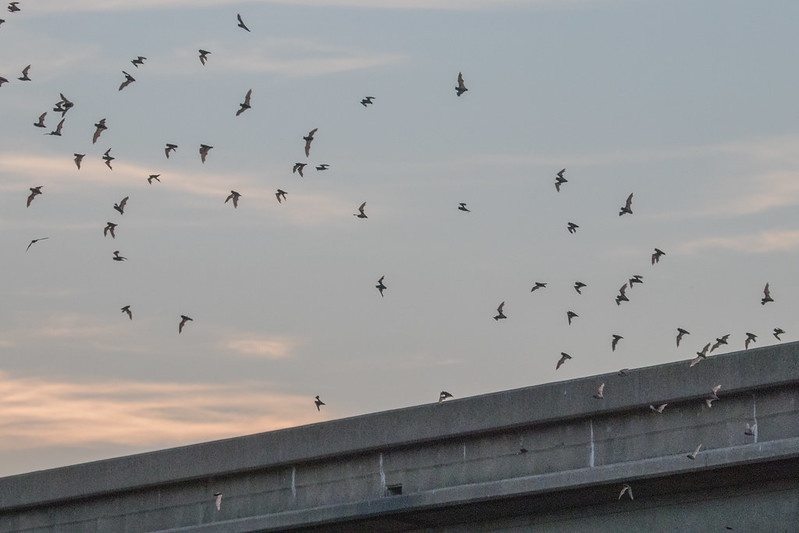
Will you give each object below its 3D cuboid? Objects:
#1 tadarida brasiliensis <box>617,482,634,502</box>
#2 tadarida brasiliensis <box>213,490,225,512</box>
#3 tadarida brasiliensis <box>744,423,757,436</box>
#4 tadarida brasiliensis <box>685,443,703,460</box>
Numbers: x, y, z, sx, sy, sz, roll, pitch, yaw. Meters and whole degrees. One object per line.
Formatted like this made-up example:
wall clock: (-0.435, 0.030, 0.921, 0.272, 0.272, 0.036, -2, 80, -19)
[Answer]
tadarida brasiliensis: (6.247, 6.248, 67.054, 0.403, 0.477, 0.264, 7, 2, 14)
tadarida brasiliensis: (-5.388, 6.843, 70.681, 0.477, 0.529, 0.421, 1, -11, -1)
tadarida brasiliensis: (9.506, 4.443, 65.674, 0.321, 0.359, 0.123, -13, -38, 12)
tadarida brasiliensis: (8.025, 5.044, 65.841, 0.401, 0.601, 0.308, -17, -39, 18)
